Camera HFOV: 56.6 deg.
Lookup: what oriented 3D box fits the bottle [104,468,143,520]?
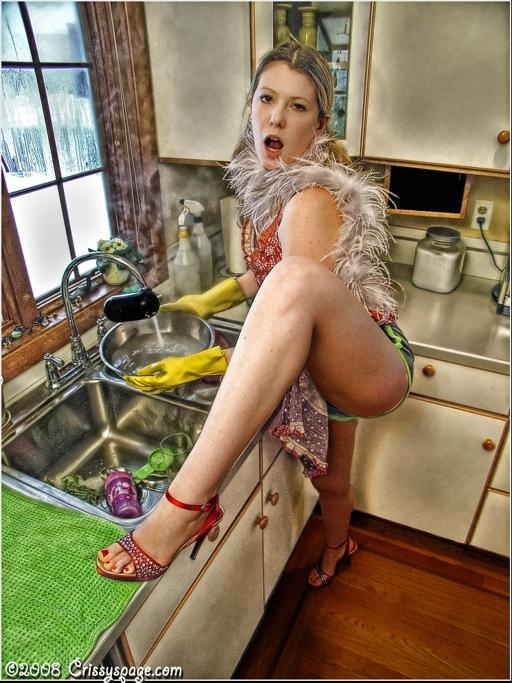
[{"bbox_3d":[-0.245,0.286,0.882,0.039,0.039,0.074,23,12,-28],"label":"bottle"}]

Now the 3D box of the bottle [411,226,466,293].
[{"bbox_3d":[0.617,-0.270,1.630,0.166,0.194,0.167,6,6,-27],"label":"bottle"}]

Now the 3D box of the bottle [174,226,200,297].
[{"bbox_3d":[-0.226,-0.265,1.560,0.090,0.234,0.086,-1,27,1],"label":"bottle"}]

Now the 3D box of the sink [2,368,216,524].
[{"bbox_3d":[-0.370,0.216,1.022,0.254,0.117,0.306,13,26,21],"label":"sink"}]

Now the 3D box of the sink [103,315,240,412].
[{"bbox_3d":[-0.227,0.043,1.317,0.320,0.092,0.204,-3,30,-7],"label":"sink"}]

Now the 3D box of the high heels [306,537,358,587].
[{"bbox_3d":[0.279,0.688,1.565,0.083,0.094,0.257,6,13,40],"label":"high heels"}]

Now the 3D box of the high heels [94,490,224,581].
[{"bbox_3d":[-0.134,0.291,0.737,0.075,0.118,0.228,8,3,43],"label":"high heels"}]

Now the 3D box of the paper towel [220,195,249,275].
[{"bbox_3d":[-0.098,-0.390,1.680,0.058,0.260,0.072,-1,-2,10],"label":"paper towel"}]
